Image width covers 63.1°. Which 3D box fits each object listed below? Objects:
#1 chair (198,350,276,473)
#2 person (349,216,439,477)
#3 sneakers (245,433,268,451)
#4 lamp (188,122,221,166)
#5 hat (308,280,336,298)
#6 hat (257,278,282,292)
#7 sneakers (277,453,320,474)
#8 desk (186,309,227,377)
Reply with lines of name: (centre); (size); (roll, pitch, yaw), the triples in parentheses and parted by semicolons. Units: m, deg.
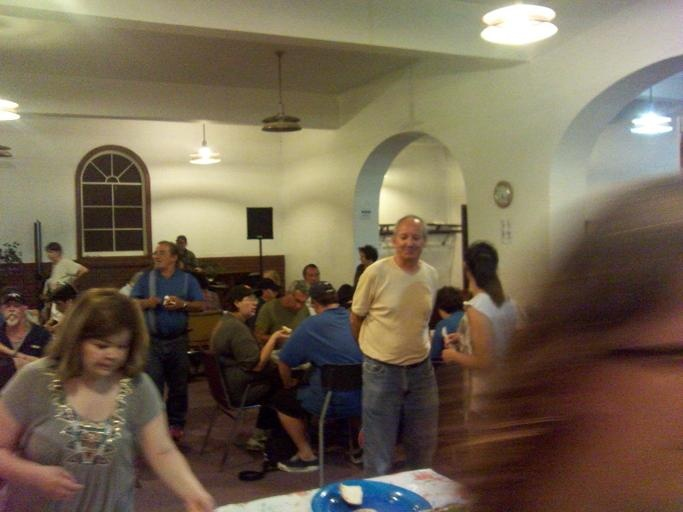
chair: (-0.718, 1.116, 4.215); (0.658, 0.809, 0.615); (0, 1, -8)
person: (0.267, 0.635, 3.007); (0.526, 1.660, 0.460); (1, -2, -18)
sneakers: (-0.656, 1.419, 4.249); (0.088, 0.084, 0.194); (2, -11, 4)
lamp: (-2.609, -2.147, 10.501); (0.580, 0.803, 0.546); (-1, 7, -6)
hat: (-0.128, 0.206, 3.535); (0.152, 0.122, 0.108); (-4, 2, -7)
hat: (-0.779, 0.341, 5.953); (0.190, 0.048, 0.183); (17, 4, -9)
sneakers: (-0.299, 1.440, 3.867); (0.288, 0.112, 0.113); (2, -10, 2)
desk: (-1.798, 1.047, 6.991); (0.485, 0.774, 0.511); (0, 4, -31)
